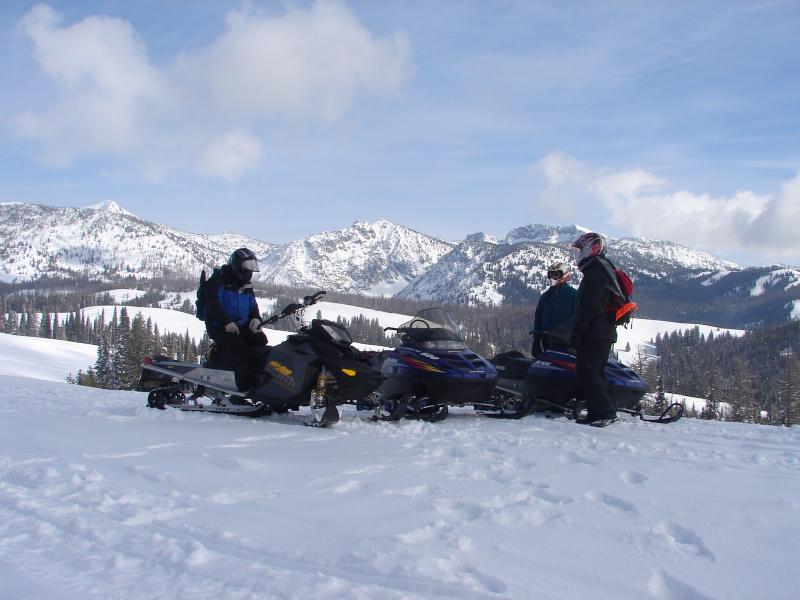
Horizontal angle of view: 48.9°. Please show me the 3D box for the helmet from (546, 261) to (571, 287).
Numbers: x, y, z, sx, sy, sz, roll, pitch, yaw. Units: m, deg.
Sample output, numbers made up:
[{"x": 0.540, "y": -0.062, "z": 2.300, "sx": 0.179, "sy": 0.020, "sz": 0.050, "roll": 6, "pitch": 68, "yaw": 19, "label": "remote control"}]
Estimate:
[{"x": 2.623, "y": -0.448, "z": 15.016, "sx": 0.350, "sy": 0.398, "sz": 0.442, "roll": 8, "pitch": 24, "yaw": 38, "label": "helmet"}]

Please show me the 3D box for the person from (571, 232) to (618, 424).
[{"x": 2.961, "y": 0.429, "z": 13.354, "sx": 0.654, "sy": 2.733, "sz": 1.210, "roll": 3, "pitch": 8, "yaw": 10, "label": "person"}]

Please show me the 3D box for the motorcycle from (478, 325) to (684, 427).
[{"x": 2.696, "y": 1.230, "z": 14.042, "sx": 2.355, "sy": 0.838, "sz": 1.550, "roll": -5, "pitch": -6, "yaw": 40, "label": "motorcycle"}]

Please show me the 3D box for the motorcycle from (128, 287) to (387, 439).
[{"x": -2.108, "y": 1.119, "z": 13.151, "sx": 3.854, "sy": 1.784, "sz": 1.630, "roll": -3, "pitch": -5, "yaw": 14, "label": "motorcycle"}]

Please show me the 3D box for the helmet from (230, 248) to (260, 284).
[{"x": -2.360, "y": -0.508, "z": 13.318, "sx": 0.554, "sy": 0.530, "sz": 0.461, "roll": -1, "pitch": 1, "yaw": 25, "label": "helmet"}]

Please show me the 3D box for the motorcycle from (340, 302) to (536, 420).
[{"x": 0.456, "y": 1.070, "z": 12.966, "sx": 1.347, "sy": 1.036, "sz": 2.336, "roll": 2, "pitch": -7, "yaw": -27, "label": "motorcycle"}]
